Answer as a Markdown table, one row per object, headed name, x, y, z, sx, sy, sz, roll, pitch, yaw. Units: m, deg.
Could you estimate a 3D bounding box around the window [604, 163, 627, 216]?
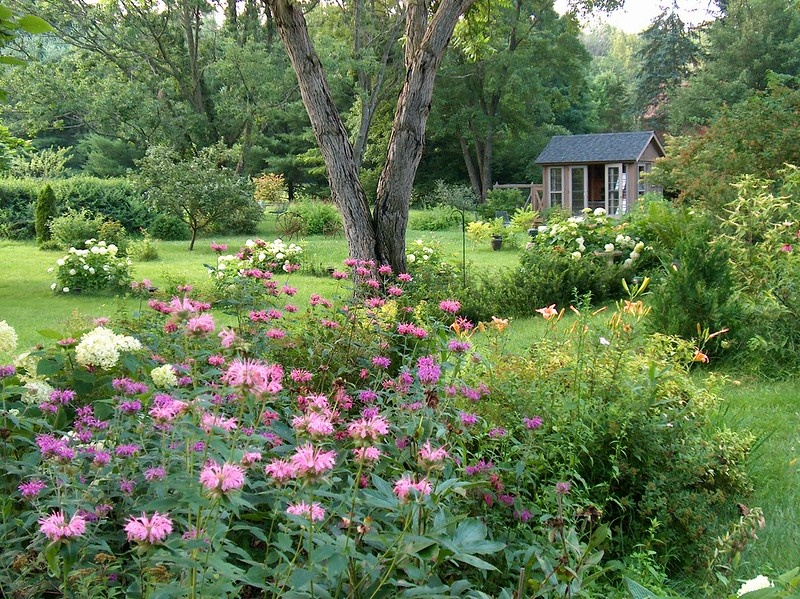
| name | x | y | z | sx | sy | sz | roll | pitch | yaw |
| --- | --- | --- | --- | --- | --- | --- | --- | --- | --- |
| window | 7.032 | -3.550 | 25.136 | 0.566 | 1.777 | 0.157 | 1 | -3 | 5 |
